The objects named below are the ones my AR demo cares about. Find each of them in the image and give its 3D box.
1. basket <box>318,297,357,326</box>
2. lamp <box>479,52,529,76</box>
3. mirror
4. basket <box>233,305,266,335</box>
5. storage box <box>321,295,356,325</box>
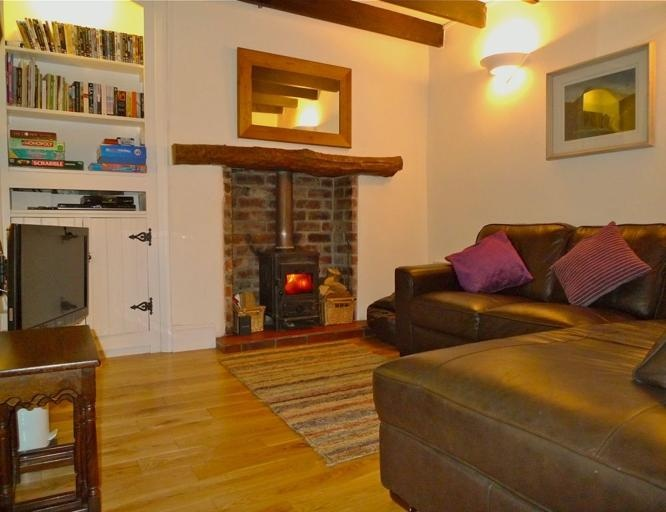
[{"bbox_3d":[0.036,0.478,4.818,0.410,0.258,0.238,0,-1,-29],"label":"basket"},{"bbox_3d":[1.420,-1.595,4.341,0.247,0.141,0.292,-6,10,-32],"label":"lamp"},{"bbox_3d":[-0.385,-1.369,4.525,1.219,0.719,0.082,2,-4,-24],"label":"mirror"},{"bbox_3d":[-0.722,0.540,4.394,0.244,0.156,0.251,0,0,45],"label":"basket"},{"bbox_3d":[0.015,0.459,4.847,0.410,0.260,0.238,0,0,-32],"label":"storage box"}]
